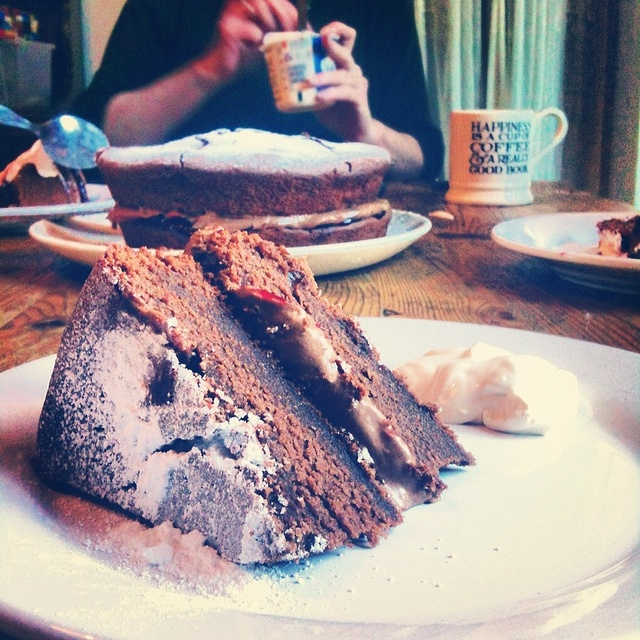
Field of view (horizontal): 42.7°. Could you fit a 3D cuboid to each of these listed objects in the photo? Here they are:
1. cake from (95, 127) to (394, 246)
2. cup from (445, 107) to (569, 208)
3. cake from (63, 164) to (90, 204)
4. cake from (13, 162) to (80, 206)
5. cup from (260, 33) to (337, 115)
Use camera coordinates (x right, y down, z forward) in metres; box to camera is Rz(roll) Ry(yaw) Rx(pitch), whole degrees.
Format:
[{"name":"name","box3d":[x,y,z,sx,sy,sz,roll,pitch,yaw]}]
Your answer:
[{"name":"cake","box3d":[-0.136,-0.279,1.639,0.589,0.223,0.565,10,19,29]},{"name":"cup","box3d":[0.443,-0.394,1.961,0.282,0.236,0.188,-9,20,-30]},{"name":"cake","box3d":[-0.552,-0.306,1.852,0.018,0.083,0.082,-7,5,14]},{"name":"cake","box3d":[-0.608,-0.299,1.821,0.125,0.046,0.090,-8,9,-26]},{"name":"cup","box3d":[-0.021,-0.668,2.073,0.208,0.219,0.148,-4,37,1]}]
